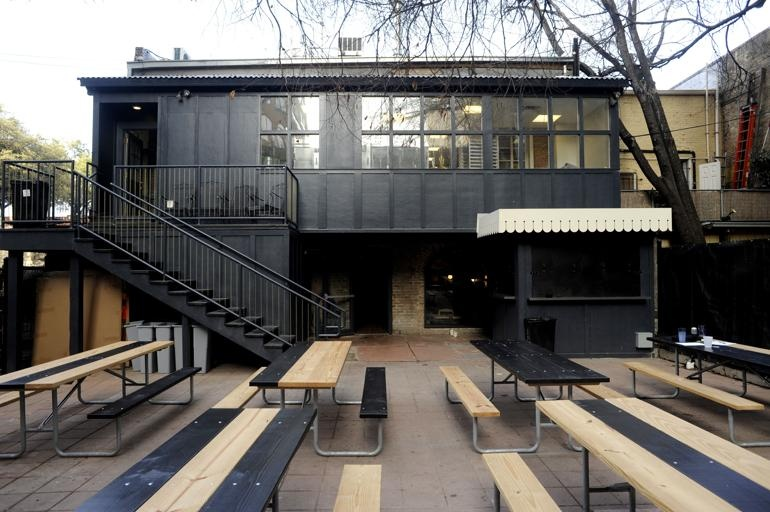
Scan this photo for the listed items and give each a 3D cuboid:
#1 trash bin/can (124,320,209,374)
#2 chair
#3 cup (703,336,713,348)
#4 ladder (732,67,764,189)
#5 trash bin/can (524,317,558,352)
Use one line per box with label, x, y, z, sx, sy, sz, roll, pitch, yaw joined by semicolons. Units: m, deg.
trash bin/can;-5.066;2.165;15.213;1.829;1.060;1.123;0;-2;-3
chair;-4.062;-1.450;16.837;3.390;0.743;0.806;-2;2;17
cup;6.467;1.742;13.035;0.199;0.170;0.218;1;-15;0
ladder;11.156;-3.839;20.009;1.005;3.477;0.844;-2;2;26
trash bin/can;3.888;1.954;16.473;1.032;1.118;0.825;0;-6;-5
